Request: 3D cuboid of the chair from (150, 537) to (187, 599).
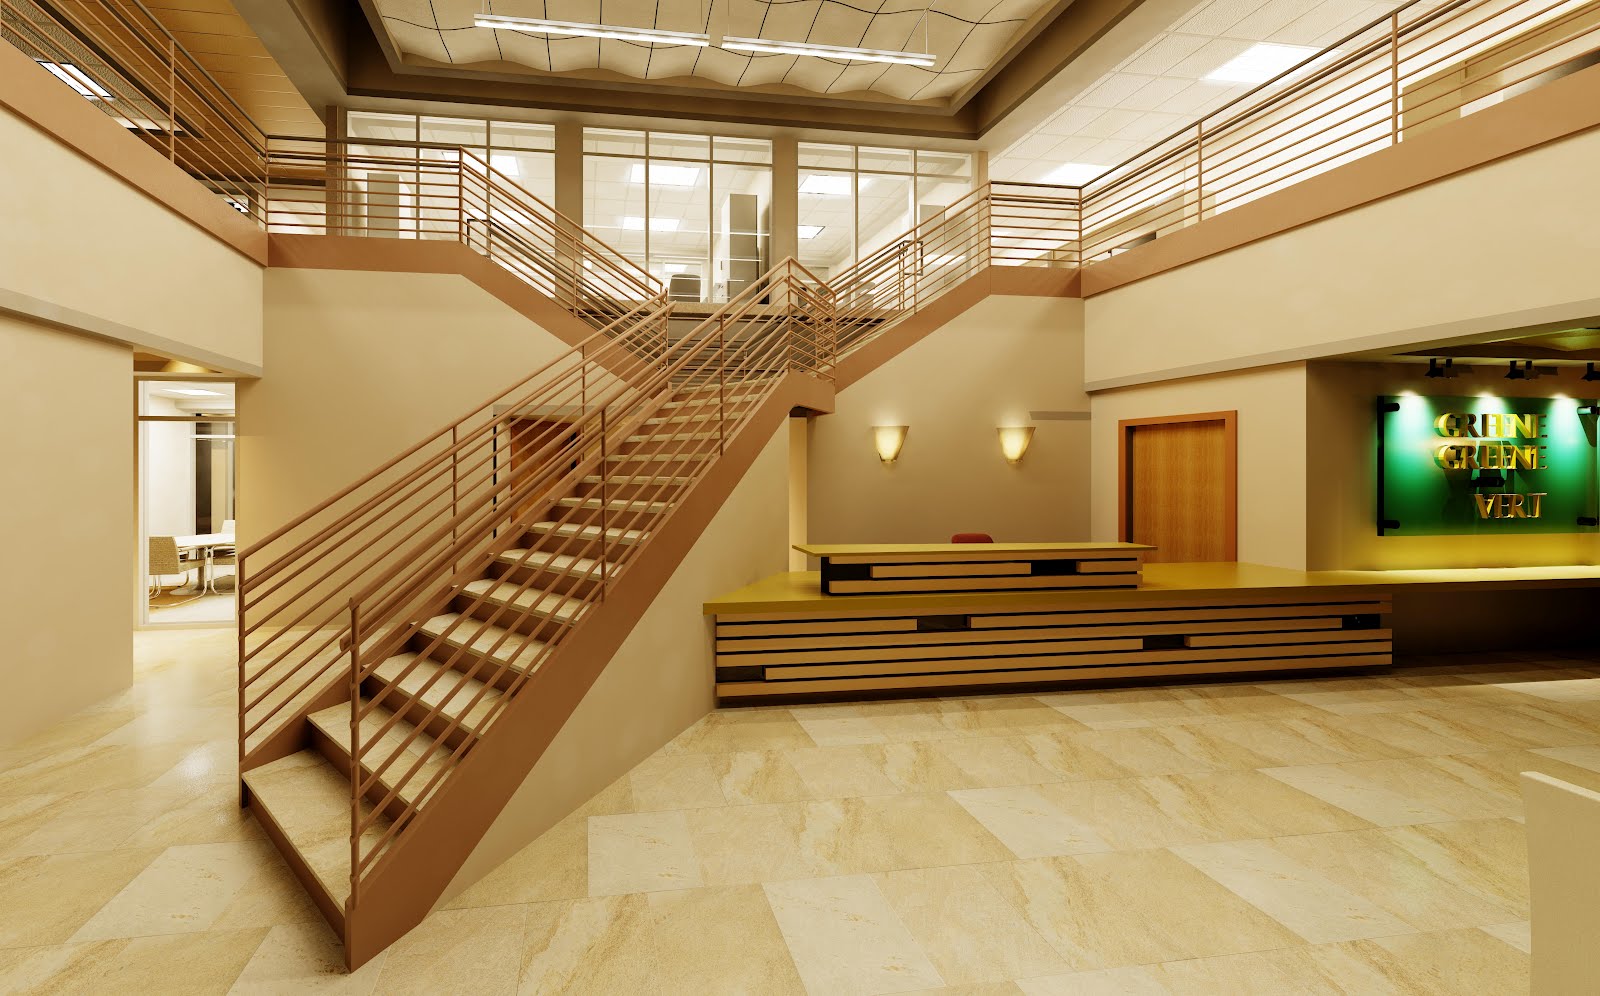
[{"bbox_3d":[-8.185,0.856,12.900,0.420,0.879,0.479,-5,12,-24],"label":"chair"}]
